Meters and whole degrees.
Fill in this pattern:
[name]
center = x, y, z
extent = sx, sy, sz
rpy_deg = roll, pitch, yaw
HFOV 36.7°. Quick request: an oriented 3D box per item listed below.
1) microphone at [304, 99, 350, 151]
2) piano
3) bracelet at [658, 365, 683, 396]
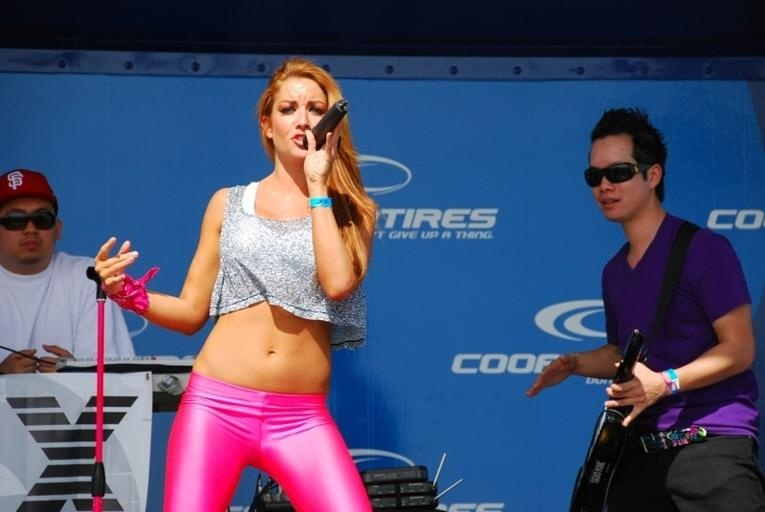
[microphone]
center = -0.315, -0.699, 6.109
extent = 0.076, 0.326, 0.080
rpy_deg = 37, 18, -21
[piano]
center = -1.487, 0.755, 6.725
extent = 0.739, 0.317, 0.676
rpy_deg = -1, 4, -12
[bracelet]
center = 1.559, 0.673, 6.187
extent = 0.115, 0.119, 0.124
rpy_deg = 3, 8, 21
